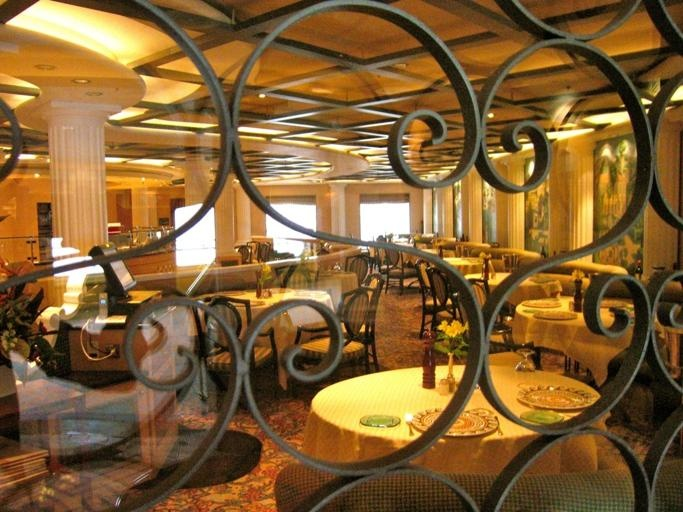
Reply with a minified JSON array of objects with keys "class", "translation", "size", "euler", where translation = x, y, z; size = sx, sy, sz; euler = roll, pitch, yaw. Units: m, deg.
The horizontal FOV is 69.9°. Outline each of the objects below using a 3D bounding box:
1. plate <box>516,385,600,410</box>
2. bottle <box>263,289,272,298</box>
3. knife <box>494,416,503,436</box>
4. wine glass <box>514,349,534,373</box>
[{"class":"plate","translation":[0.931,0.620,2.122],"size":[0.357,0.033,0.343],"euler":[-2,2,22]},{"class":"bottle","translation":[-0.694,0.349,4.566],"size":[0.072,0.068,0.077],"euler":[7,9,44]},{"class":"knife","translation":[0.614,0.666,1.906],"size":[0.017,0.015,0.094],"euler":[-6,3,11]},{"class":"wine glass","translation":[0.878,0.499,2.365],"size":[0.116,0.110,0.111],"euler":[1,1,20]}]
